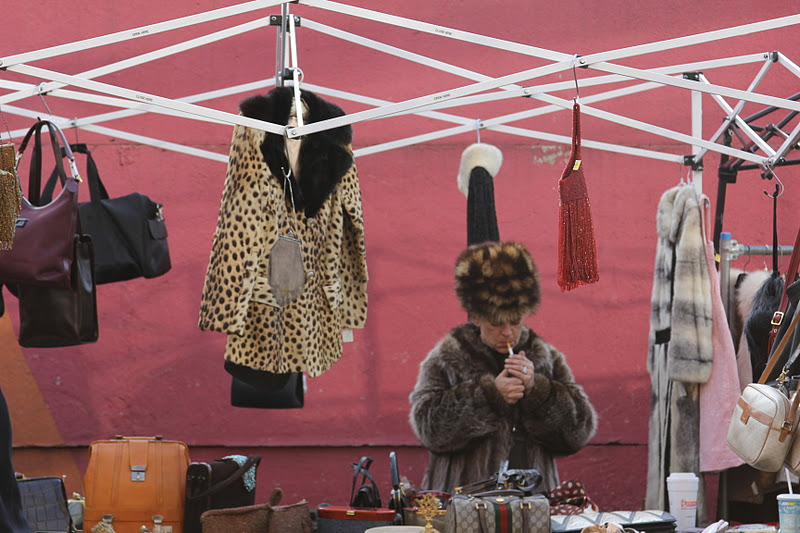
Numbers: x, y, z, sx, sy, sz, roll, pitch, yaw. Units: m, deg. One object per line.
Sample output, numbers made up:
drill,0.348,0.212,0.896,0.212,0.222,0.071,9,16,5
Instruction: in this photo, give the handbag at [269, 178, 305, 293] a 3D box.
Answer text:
handbag,-0.748,-0.035,10.715,0.259,0.564,0.080,8,-14,-36

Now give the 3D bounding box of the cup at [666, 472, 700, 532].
cup,1.927,1.600,10.955,0.198,0.394,0.228,-1,-12,4

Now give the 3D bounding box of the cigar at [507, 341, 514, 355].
cigar,0.824,0.613,11.972,0.024,0.112,0.018,-17,-15,8
